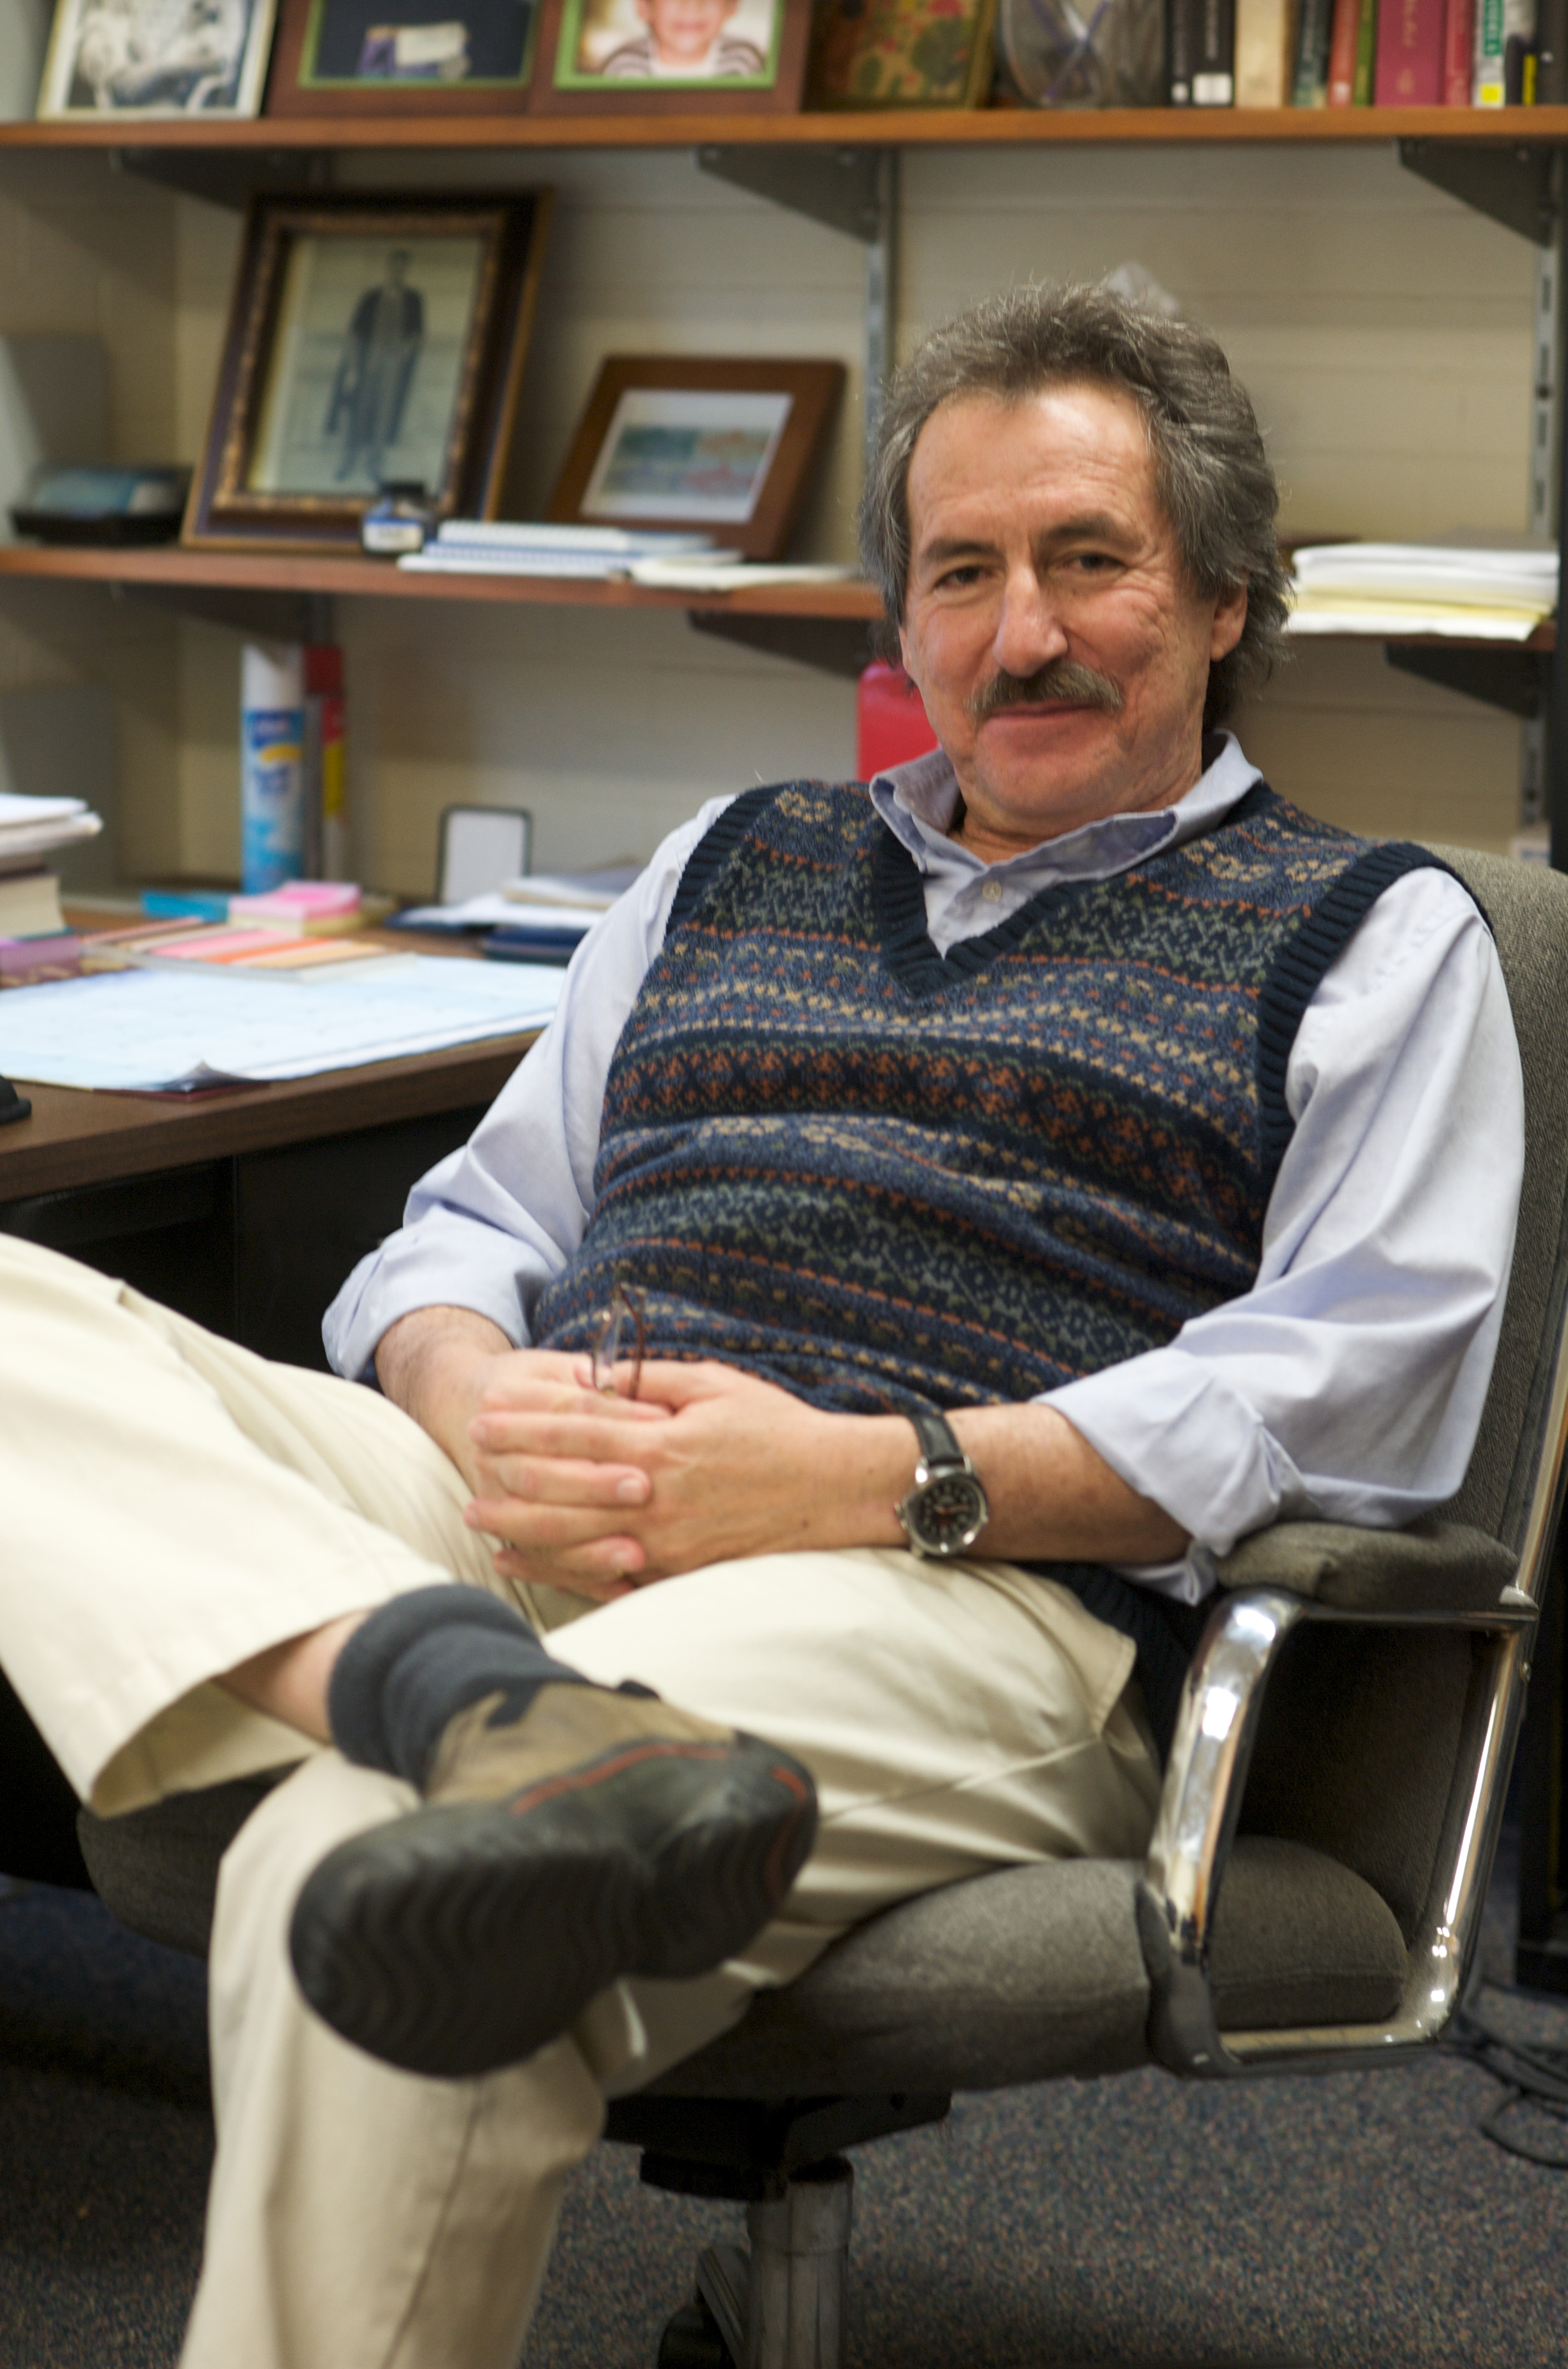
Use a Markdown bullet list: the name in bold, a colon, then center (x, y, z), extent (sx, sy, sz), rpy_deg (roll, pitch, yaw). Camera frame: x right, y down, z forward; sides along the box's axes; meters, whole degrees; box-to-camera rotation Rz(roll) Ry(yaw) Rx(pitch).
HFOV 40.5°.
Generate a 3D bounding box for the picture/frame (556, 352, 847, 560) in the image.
- **picture/frame**: center (-0.079, -0.763, 2.243), extent (0.299, 0.250, 0.033), rpy_deg (13, -22, 29)

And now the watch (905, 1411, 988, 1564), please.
- **watch**: center (0.072, 0.144, 0.986), extent (0.042, 0.065, 0.063), rpy_deg (-2, 8, -4)

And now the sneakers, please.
- **sneakers**: center (-0.075, 0.216, 0.657), extent (0.143, 0.061, 0.134), rpy_deg (-15, 13, -33)
